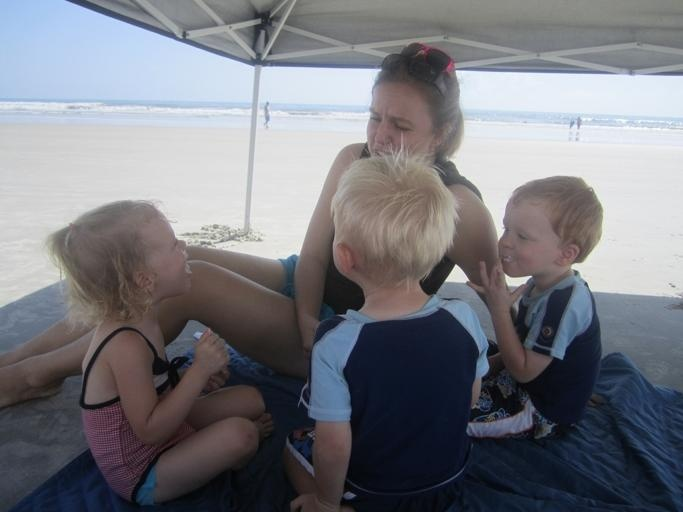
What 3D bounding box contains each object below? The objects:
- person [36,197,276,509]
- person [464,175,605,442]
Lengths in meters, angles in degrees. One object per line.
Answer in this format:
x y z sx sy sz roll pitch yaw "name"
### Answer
-0.953 0.246 3.063 1.296 1.847 0.969 -11 22 -28 "person"
0.923 0.244 2.883 0.964 1.355 0.736 8 16 19 "person"
